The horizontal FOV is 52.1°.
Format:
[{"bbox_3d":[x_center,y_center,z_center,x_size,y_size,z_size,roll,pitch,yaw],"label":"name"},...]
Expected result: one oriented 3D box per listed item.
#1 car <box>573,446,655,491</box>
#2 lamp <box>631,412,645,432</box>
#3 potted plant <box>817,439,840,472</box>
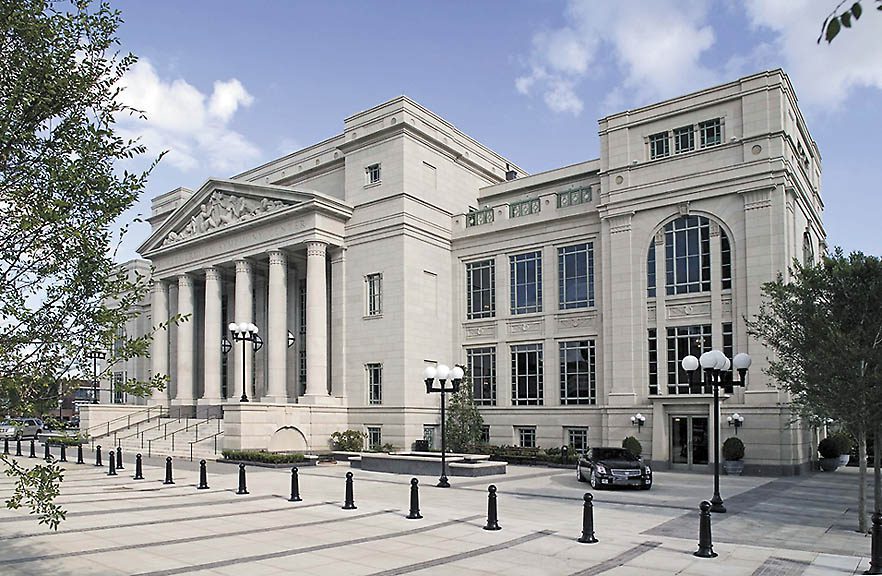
[{"bbox_3d":[6.785,7.354,36.327,1.942,1.544,2.943,2,-3,-22],"label":"car"},{"bbox_3d":[9.631,6.676,44.457,0.451,0.977,0.707,2,-3,-34],"label":"lamp"},{"bbox_3d":[19.076,8.254,44.498,0.939,1.527,0.789,0,-2,16],"label":"potted plant"}]
